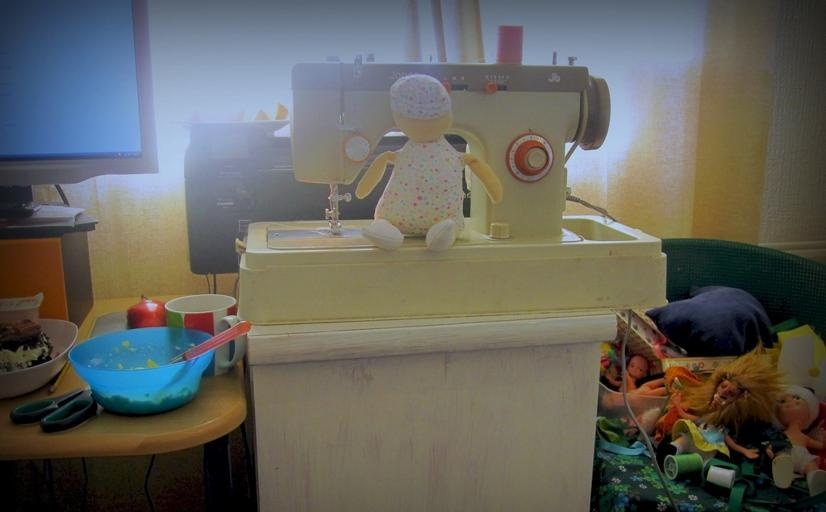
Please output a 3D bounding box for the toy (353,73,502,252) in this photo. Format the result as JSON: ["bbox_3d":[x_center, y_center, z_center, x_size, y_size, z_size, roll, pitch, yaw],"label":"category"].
[{"bbox_3d":[0.043,-0.230,1.555,0.374,0.420,0.179,-4,9,-5],"label":"toy"}]

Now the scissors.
[{"bbox_3d":[-0.814,0.361,1.451,0.107,0.018,0.105,5,16,22],"label":"scissors"}]

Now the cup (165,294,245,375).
[{"bbox_3d":[-0.512,0.179,1.595,0.243,0.161,0.152,12,11,18],"label":"cup"}]

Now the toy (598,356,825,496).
[{"bbox_3d":[0.890,0.474,1.931,0.621,0.342,0.284,0,9,19],"label":"toy"}]

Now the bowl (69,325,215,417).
[{"bbox_3d":[-0.644,0.272,1.489,0.247,0.100,0.245,4,13,-1],"label":"bowl"}]
